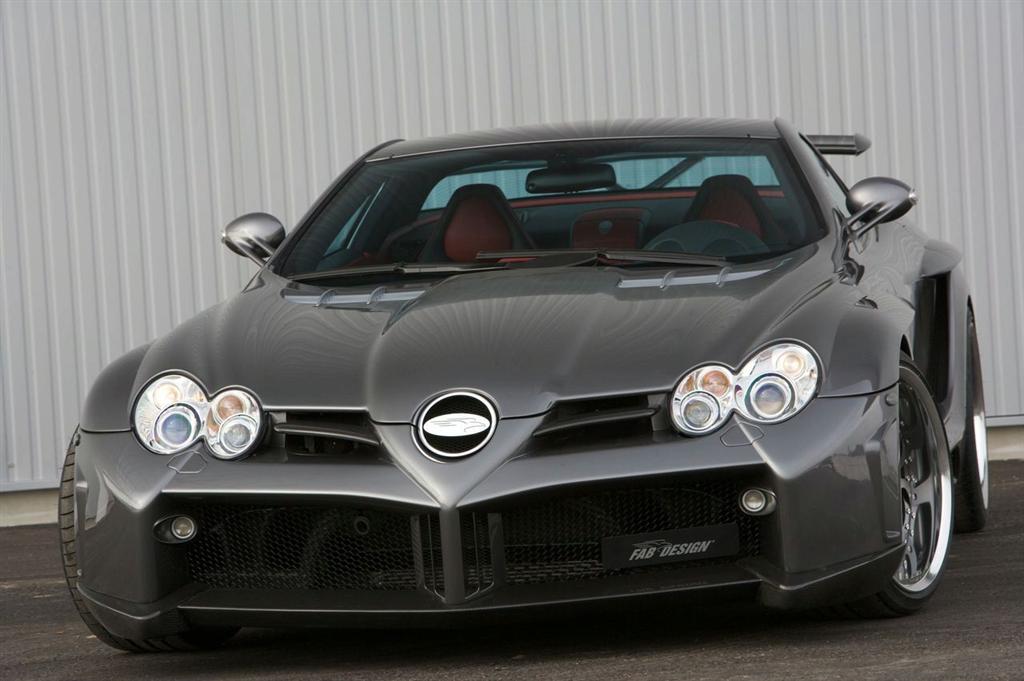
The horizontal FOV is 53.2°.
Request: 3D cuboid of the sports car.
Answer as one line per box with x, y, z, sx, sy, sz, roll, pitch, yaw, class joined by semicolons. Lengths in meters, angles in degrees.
0.117;0.022;3.960;3.563;2.100;1.793;-3;-2;-17;sports car
